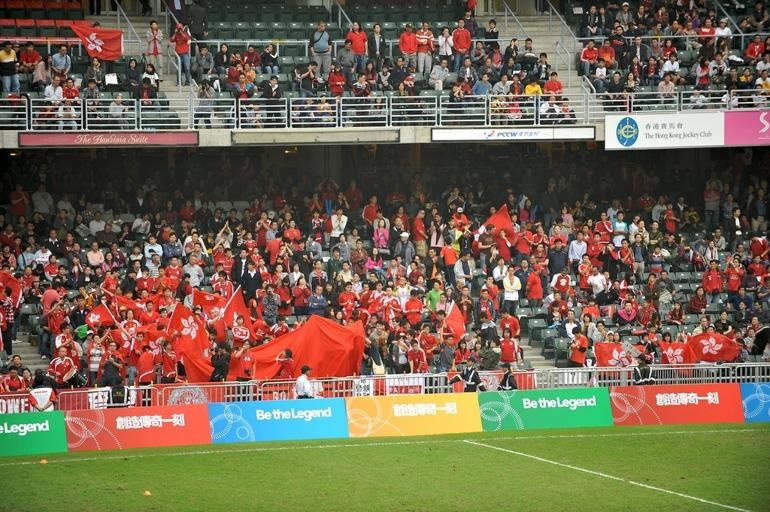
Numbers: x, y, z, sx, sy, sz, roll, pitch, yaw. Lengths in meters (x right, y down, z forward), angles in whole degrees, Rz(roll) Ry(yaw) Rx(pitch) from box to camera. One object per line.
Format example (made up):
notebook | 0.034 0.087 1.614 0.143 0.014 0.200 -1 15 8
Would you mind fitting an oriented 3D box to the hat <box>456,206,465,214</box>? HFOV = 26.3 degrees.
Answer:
hat | 2.848 -1.717 61.656 0.207 0.182 0.238 2 5 9
